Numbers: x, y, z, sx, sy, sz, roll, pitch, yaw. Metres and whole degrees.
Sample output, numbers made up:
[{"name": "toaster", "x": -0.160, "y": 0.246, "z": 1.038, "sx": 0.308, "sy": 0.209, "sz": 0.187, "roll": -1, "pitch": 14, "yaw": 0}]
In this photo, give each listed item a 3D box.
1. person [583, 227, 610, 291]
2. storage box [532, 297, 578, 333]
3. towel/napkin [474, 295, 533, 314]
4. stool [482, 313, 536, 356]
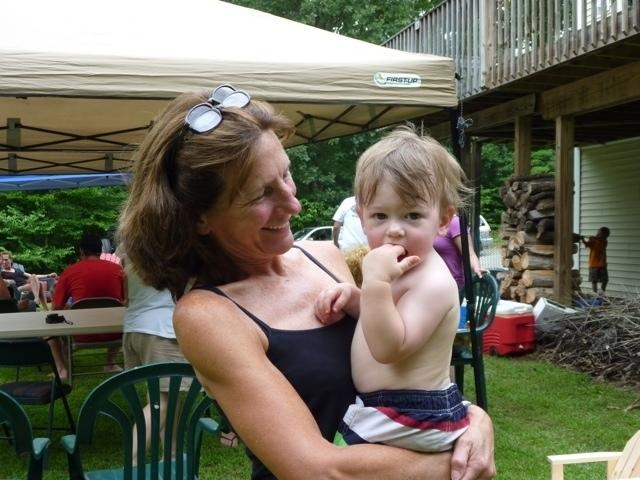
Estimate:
[{"name": "person", "x": 5.242, "y": 0.477, "z": 11.813, "sx": 0.408, "sy": 1.443, "sz": 2.385, "roll": 2, "pitch": 7, "yaw": 24}, {"name": "storage box", "x": 3.108, "y": 1.007, "z": 8.246, "sx": 0.407, "sy": 0.226, "sz": 0.277, "roll": 39, "pitch": -38, "yaw": -25}, {"name": "towel/napkin", "x": 2.126, "y": 0.751, "z": 7.172, "sx": 0.412, "sy": 0.105, "sz": 0.426, "roll": -1, "pitch": 1, "yaw": -16}, {"name": "stool", "x": 2.419, "y": 1.213, "z": 8.145, "sx": 0.519, "sy": 0.731, "sz": 0.964, "roll": 2, "pitch": -6, "yaw": -13}]
